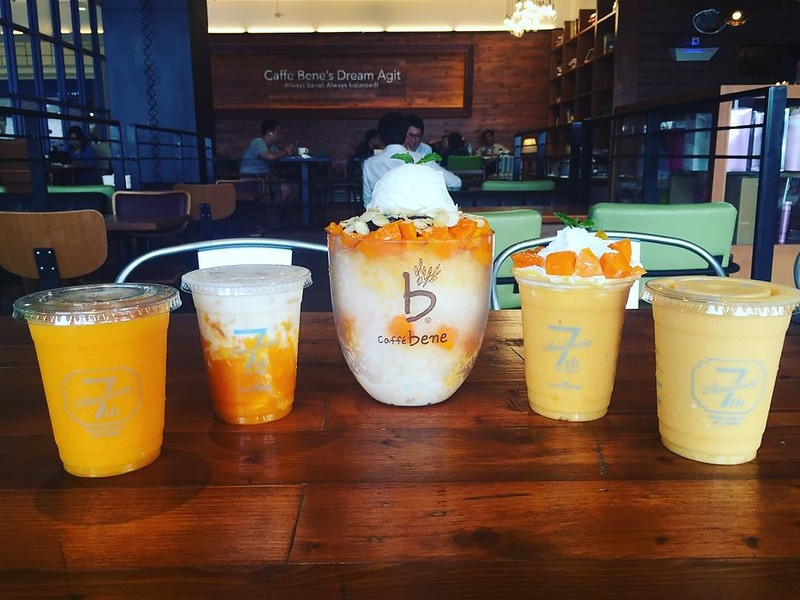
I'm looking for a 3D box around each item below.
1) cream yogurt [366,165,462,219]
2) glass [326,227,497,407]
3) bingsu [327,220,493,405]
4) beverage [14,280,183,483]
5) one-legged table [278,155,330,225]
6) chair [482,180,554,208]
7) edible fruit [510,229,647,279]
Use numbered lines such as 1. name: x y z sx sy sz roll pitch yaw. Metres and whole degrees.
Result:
1. cream yogurt: 0.022 -0.129 0.874 0.106 0.033 0.093 -10 18 -29
2. glass: 0.008 0.010 0.874 0.275 0.202 0.222 -2 6 -8
3. bingsu: -0.040 0.031 0.895 0.268 0.191 0.213 -2 -3 -6
4. beverage: -0.277 0.091 0.764 0.231 0.165 0.171 -3 -6 12
5. one-legged table: -0.901 -1.043 7.077 0.408 0.752 1.667 -4 15 -5
6. chair: 0.732 -0.679 4.604 0.445 0.152 0.711 2 15 12
7. edible fruit: 0.196 -0.052 0.804 0.139 0.052 0.055 0 17 5
